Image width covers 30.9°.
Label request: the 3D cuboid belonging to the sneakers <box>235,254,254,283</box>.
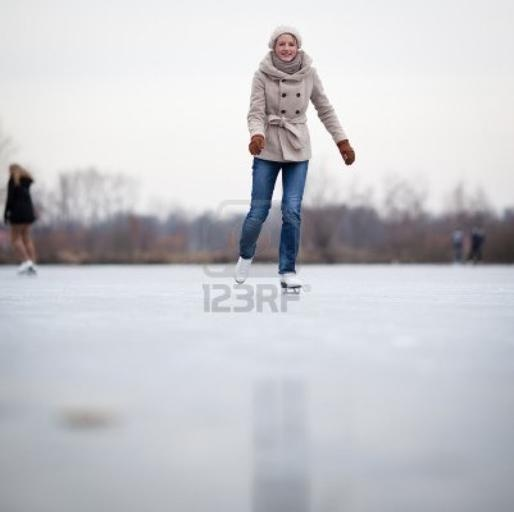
[{"bbox_3d":[-0.080,0.075,5.081,0.056,0.187,0.075,7,7,-1],"label":"sneakers"}]

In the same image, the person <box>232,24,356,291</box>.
[{"bbox_3d":[0.199,-0.511,4.842,0.574,1.326,0.564,0,3,-4],"label":"person"}]

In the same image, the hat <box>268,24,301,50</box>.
[{"bbox_3d":[0.136,-1.146,4.818,0.170,0.126,0.228,0,3,2],"label":"hat"}]

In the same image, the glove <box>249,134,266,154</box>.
[{"bbox_3d":[-0.006,-0.541,4.503,0.053,0.100,0.094,23,0,6],"label":"glove"}]

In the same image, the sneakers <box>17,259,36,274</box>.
[{"bbox_3d":[-1.819,0.082,7.364,0.090,0.118,0.258,1,1,-17],"label":"sneakers"}]

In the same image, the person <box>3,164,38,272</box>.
[{"bbox_3d":[-1.902,-0.307,7.456,0.232,0.876,0.562,-1,3,-15],"label":"person"}]
